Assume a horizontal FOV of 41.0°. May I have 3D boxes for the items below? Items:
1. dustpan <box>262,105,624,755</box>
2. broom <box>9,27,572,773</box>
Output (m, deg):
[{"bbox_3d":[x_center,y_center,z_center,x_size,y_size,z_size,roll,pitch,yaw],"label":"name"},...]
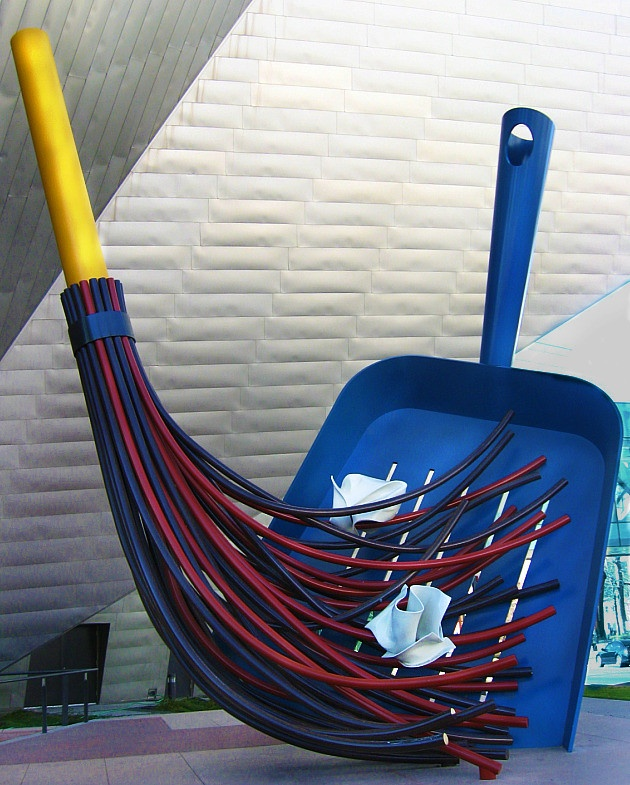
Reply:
[{"bbox_3d":[0.233,0.063,0.979,0.419,0.681,0.129,11,-10,38],"label":"dustpan"},{"bbox_3d":[-0.093,0.042,0.971,0.482,0.747,0.187,-22,-16,-11],"label":"broom"}]
